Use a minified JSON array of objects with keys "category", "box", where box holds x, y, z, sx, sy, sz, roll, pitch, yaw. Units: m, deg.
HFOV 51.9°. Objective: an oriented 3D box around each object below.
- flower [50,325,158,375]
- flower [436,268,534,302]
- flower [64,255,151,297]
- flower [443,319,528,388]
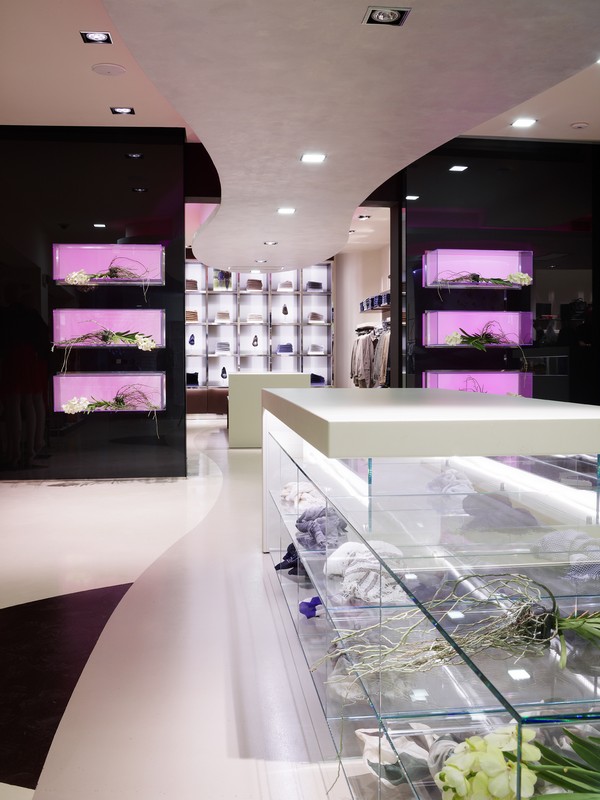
[{"category":"flower","box":[-1.585,-0.460,5.532,1.177,0.415,0.337,0,2,-10]},{"category":"flower","box":[1.745,-1.088,5.828,1.033,0.251,0.165,-1,3,-11]},{"category":"flower","box":[-1.565,-1.094,5.514,0.973,0.398,0.254,-10,6,-16]},{"category":"flower","box":[1.731,-0.444,5.872,0.654,0.619,0.347,-1,4,-2]}]
